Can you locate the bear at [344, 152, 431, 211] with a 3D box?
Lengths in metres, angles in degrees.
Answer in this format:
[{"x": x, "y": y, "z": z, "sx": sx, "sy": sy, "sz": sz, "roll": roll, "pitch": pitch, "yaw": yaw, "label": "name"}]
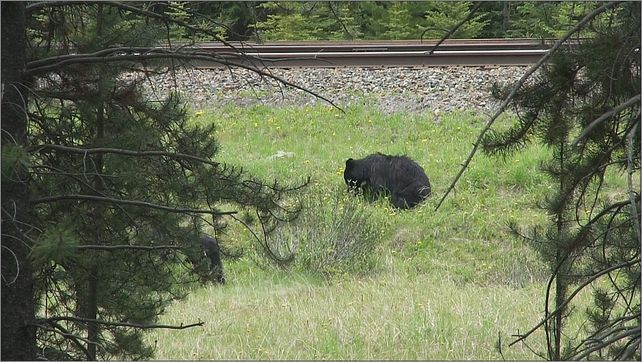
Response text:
[{"x": 1.148, "y": -0.019, "z": 23.223, "sx": 1.420, "sy": 0.944, "sz": 0.805, "roll": 9, "pitch": 15, "yaw": 21, "label": "bear"}]
